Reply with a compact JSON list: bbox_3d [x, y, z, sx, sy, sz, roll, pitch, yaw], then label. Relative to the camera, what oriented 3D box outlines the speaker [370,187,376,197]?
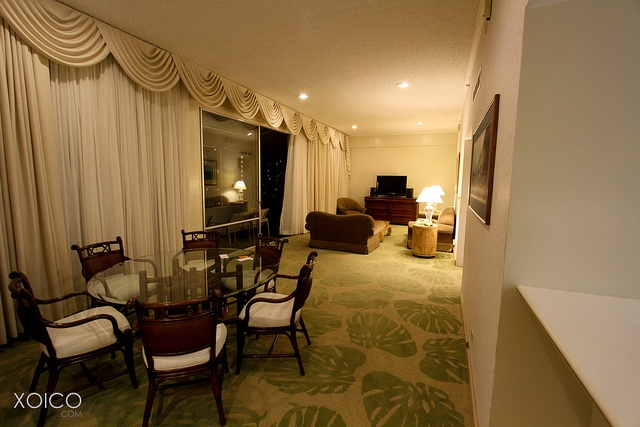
[{"bbox_3d":[1.492,-0.615,11.201,0.204,0.409,0.212,0,0,1],"label":"speaker"}]

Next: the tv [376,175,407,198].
[{"bbox_3d":[1.986,-0.750,10.902,0.577,0.436,0.179,2,5,25],"label":"tv"}]

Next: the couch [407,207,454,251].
[{"bbox_3d":[2.118,0.292,7.451,0.627,0.588,1.222,2,5,16],"label":"couch"}]

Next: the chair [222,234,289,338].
[{"bbox_3d":[-0.656,0.642,4.464,0.646,1.002,0.686,0,-2,30],"label":"chair"}]

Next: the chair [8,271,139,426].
[{"bbox_3d":[-2.149,1.044,3.968,1.179,1.692,1.075,-3,10,-30],"label":"chair"}]

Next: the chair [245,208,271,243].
[{"bbox_3d":[-1.115,0.186,7.689,0.497,0.740,0.431,1,3,27],"label":"chair"}]

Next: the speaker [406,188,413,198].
[{"bbox_3d":[2.391,-0.568,10.724,0.191,0.216,0.282,3,-2,9],"label":"speaker"}]

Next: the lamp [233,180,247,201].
[{"bbox_3d":[-1.369,-0.408,6.945,0.258,0.386,0.260,2,10,8],"label":"lamp"}]

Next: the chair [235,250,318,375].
[{"bbox_3d":[-0.380,0.925,4.199,0.919,1.468,1.033,2,2,1],"label":"chair"}]
